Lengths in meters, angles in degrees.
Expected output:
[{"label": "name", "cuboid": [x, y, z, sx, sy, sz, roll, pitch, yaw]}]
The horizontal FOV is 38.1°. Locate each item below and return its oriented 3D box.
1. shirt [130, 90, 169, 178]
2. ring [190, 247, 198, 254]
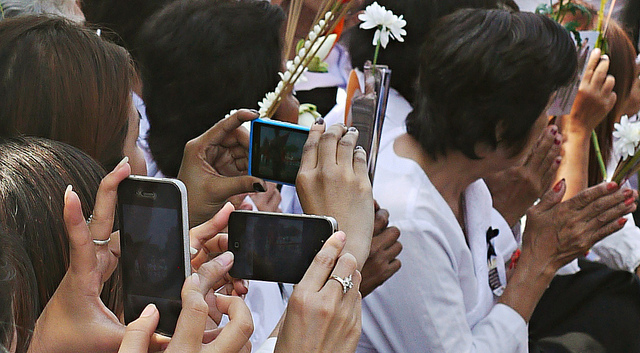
[{"label": "shirt", "cuboid": [-0.746, -0.191, 3.977, 0.115, 0.316, 0.224, -26, 37, -29]}, {"label": "ring", "cuboid": [-0.492, 0.281, 3.577, 0.004, 0.020, 0.036, -31, -6, 24]}]
